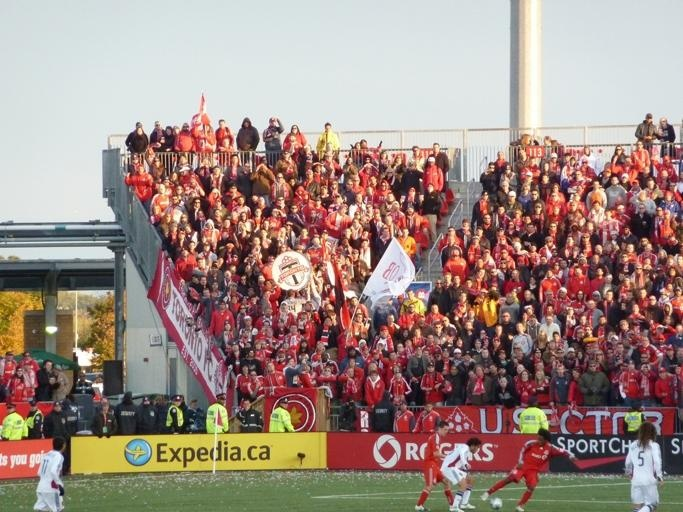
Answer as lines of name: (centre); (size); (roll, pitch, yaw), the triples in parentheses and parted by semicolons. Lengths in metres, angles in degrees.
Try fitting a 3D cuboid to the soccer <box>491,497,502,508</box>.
soccer: (4.559, 7.255, 62.069); (0.277, 0.316, 0.299); (-2, 20, 1)
